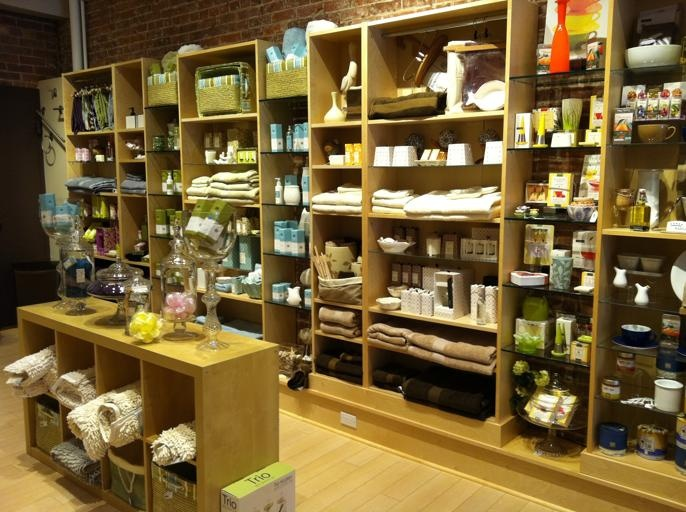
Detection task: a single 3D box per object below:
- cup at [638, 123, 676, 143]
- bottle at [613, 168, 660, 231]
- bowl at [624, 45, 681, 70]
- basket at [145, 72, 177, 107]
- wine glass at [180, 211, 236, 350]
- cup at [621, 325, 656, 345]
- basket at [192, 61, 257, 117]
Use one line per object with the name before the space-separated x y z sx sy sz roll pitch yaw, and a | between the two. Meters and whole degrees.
cup | 1.862 -0.717 3.110 0.175 0.079 0.142 5 6 33
bottle | 1.833 -0.358 3.254 0.250 0.352 0.315 7 11 31
bowl | 1.817 -1.154 3.071 0.204 0.074 0.190 -2 6 0
basket | -1.821 -1.675 5.299 0.201 0.252 0.342 -10 16 -43
wine glass | -0.778 0.092 3.077 0.264 0.838 0.353 -5 11 -34
cup | 1.819 0.491 3.249 0.125 0.091 0.151 -4 3 -41
basket | -1.064 -1.531 4.835 0.634 0.527 0.351 2 8 29
